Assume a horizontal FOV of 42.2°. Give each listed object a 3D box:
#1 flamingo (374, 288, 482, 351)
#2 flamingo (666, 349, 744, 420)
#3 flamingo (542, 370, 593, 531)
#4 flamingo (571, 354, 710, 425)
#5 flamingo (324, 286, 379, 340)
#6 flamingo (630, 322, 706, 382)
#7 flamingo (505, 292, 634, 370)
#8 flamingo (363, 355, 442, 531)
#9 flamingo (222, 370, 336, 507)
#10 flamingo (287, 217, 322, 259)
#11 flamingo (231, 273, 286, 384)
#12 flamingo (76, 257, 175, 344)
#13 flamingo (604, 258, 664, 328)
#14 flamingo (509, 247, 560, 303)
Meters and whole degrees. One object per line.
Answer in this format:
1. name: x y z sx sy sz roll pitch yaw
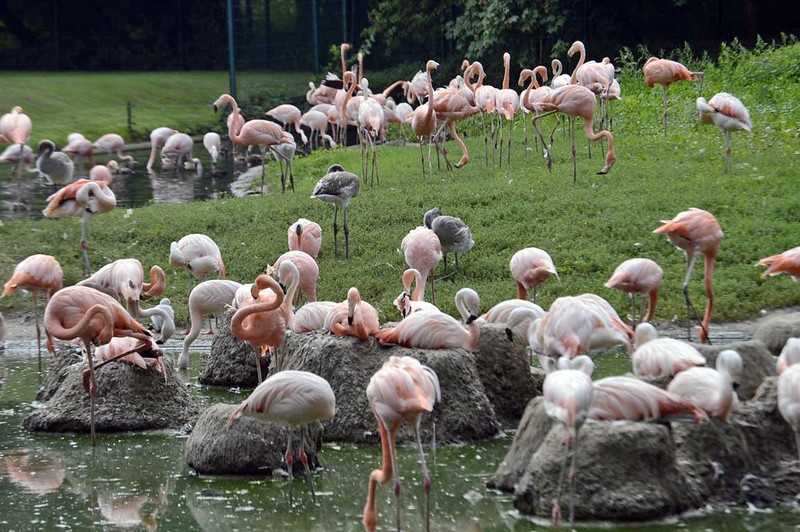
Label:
1. flamingo: 0.331 0.677 12.549 1.204 1.000 0.600 -2 8 -3
2. flamingo: 3.419 1.349 11.377 0.664 0.891 0.983 2 10 -9
3. flamingo: 1.715 1.899 10.905 0.440 1.514 0.657 10 17 43
4. flamingo: 2.463 1.433 11.152 1.472 1.044 0.579 -4 -2 20
5. flamingo: -0.518 0.539 12.271 0.470 0.704 0.676 -9 15 -30
6. flamingo: 3.036 1.028 11.777 0.729 0.715 0.909 -11 6 -32
7. flamingo: 1.983 0.914 12.242 1.406 1.028 0.776 -2 7 12
8. flamingo: 0.014 1.884 10.784 0.750 1.660 0.766 0 12 8
9. flamingo: -1.239 1.836 11.295 0.947 1.362 0.618 6 15 32
10. flamingo: -1.361 -0.397 15.134 0.415 0.704 0.561 1 -9 2
11. flamingo: -1.640 0.764 12.498 0.666 1.492 0.986 -1 12 5
12. flamingo: -3.551 0.369 13.585 0.671 0.934 2.079 6 13 -33
13. flamingo: 3.018 0.402 13.293 0.804 0.911 0.524 18 -20 -25
14. flamingo: 1.756 0.083 13.997 0.444 0.747 0.937 -4 13 -16
